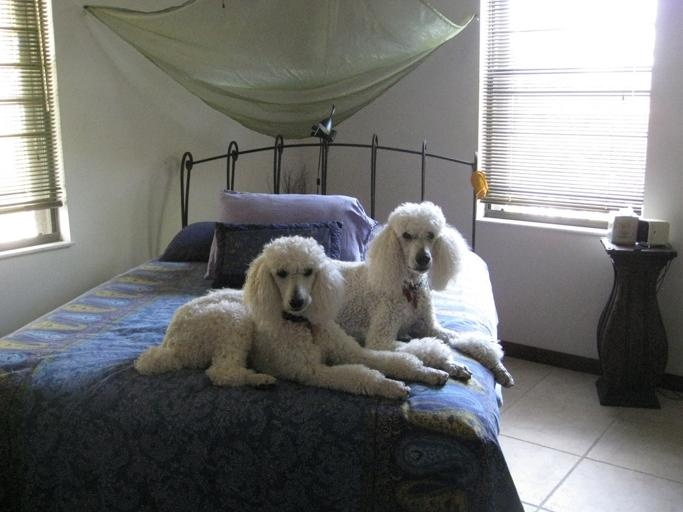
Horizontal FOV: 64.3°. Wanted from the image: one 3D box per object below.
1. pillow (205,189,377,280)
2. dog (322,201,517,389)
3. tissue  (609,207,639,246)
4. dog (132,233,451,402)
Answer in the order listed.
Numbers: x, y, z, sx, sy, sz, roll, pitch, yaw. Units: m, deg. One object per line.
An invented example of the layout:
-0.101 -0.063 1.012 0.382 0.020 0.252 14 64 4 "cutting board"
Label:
-0.280 -0.140 3.230 0.650 0.613 0.215 2 -21 -6 "pillow"
0.248 0.094 2.417 0.501 0.704 0.992 -7 14 -40 "dog"
1.697 -0.175 3.270 0.143 0.205 0.123 -2 26 16 "tissue "
-0.197 0.196 2.124 1.101 0.613 0.445 2 7 21 "dog"
